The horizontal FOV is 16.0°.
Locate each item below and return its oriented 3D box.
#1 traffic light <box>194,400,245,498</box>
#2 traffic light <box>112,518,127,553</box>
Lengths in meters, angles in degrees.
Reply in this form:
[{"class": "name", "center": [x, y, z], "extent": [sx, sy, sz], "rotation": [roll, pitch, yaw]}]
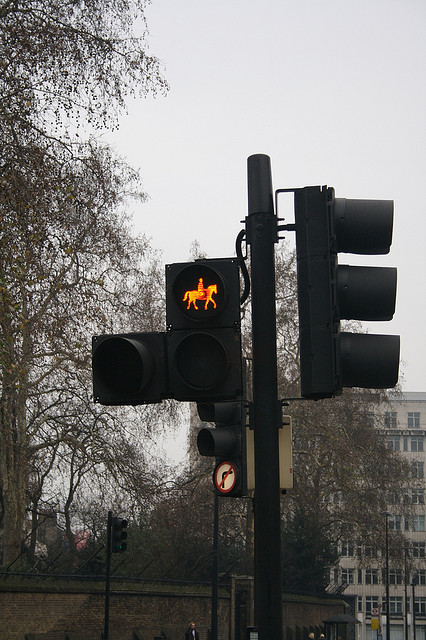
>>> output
[{"class": "traffic light", "center": [0.151, 2.084, 24.593], "extent": [0.756, 1.564, 0.723], "rotation": [-1, -11, 2]}, {"class": "traffic light", "center": [-2.248, 5.206, 37.014], "extent": [0.327, 0.843, 0.651], "rotation": [1, -12, -6]}]
